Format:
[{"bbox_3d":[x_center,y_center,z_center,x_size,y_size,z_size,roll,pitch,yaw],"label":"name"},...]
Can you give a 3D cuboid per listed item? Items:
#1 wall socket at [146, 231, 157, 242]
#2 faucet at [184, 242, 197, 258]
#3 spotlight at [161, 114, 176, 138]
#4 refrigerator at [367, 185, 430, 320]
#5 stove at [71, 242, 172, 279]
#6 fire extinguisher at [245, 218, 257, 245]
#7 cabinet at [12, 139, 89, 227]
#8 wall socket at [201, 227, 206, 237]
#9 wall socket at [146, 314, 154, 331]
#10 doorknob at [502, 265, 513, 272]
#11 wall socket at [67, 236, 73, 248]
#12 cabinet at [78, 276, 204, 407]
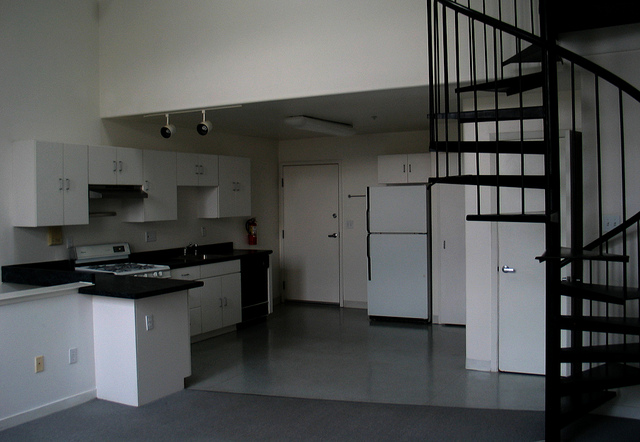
[{"bbox_3d":[-2.323,0.216,7.225,0.022,0.134,0.182,3,8,28],"label":"wall socket"},{"bbox_3d":[-1.917,0.408,7.679,0.117,0.154,0.314,1,7,11],"label":"faucet"},{"bbox_3d":[-1.993,-1.245,6.854,0.158,0.409,0.204,10,22,15],"label":"spotlight"},{"bbox_3d":[1.162,0.481,7.872,0.928,1.996,0.399,1,6,6],"label":"refrigerator"},{"bbox_3d":[-2.470,0.500,6.476,0.942,0.400,0.772,-7,10,-44],"label":"stove"},{"bbox_3d":[-1.155,0.181,8.699,0.162,0.425,0.107,2,6,16],"label":"fire extinguisher"},{"bbox_3d":[-3.065,-0.434,6.203,0.577,0.818,0.386,-3,8,-37],"label":"cabinet"},{"bbox_3d":[-1.773,0.165,7.947,0.023,0.182,0.134,-2,0,28],"label":"wall socket"},{"bbox_3d":[-1.693,1.000,5.196,0.020,0.141,0.079,4,8,36],"label":"wall socket"},{"bbox_3d":[2.082,0.532,5.829,0.105,0.078,0.022,2,6,13],"label":"doorknob"},{"bbox_3d":[-3.049,0.258,6.392,0.068,0.138,0.027,-6,8,-43],"label":"wall socket"},{"bbox_3d":[-1.841,1.172,5.755,1.082,1.300,1.261,0,3,15],"label":"cabinet"}]
